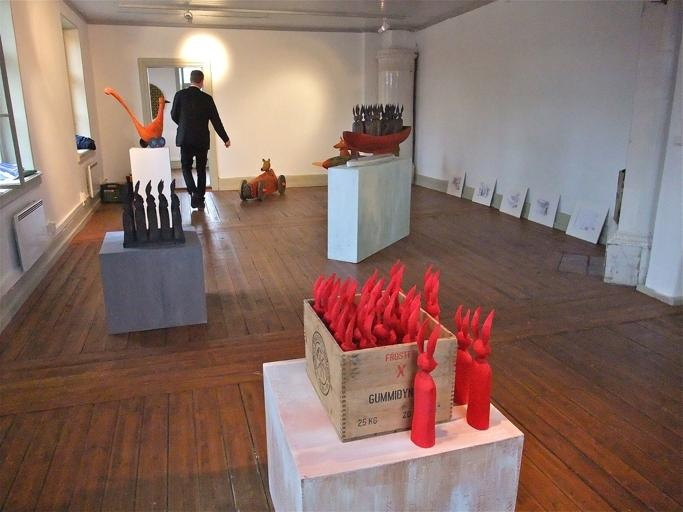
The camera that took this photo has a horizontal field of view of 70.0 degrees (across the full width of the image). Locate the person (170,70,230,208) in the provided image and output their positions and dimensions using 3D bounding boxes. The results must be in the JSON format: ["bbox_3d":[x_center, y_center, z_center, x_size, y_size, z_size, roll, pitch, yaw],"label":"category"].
[{"bbox_3d":[-2.302,-1.826,7.849,0.782,2.182,0.443,-7,17,-19],"label":"person"}]

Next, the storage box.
[{"bbox_3d":[0.133,0.398,2.025,0.510,0.364,0.523,-5,22,-20],"label":"storage box"}]

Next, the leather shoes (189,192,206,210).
[{"bbox_3d":[-2.422,-0.872,8.074,0.261,0.299,0.179,-11,2,12],"label":"leather shoes"}]
